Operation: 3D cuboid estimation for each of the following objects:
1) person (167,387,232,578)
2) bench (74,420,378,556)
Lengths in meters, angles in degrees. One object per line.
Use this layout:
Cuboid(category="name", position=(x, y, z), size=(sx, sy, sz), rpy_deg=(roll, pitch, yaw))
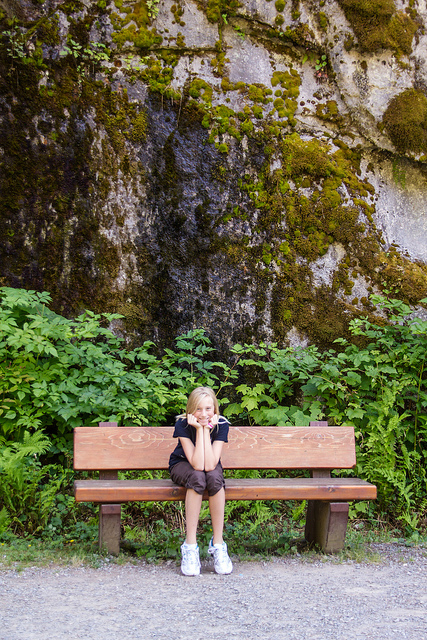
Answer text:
Cuboid(category="person", position=(-0.075, 1.051, 4.853), size=(0.437, 1.175, 0.490), rpy_deg=(3, 5, -4))
Cuboid(category="bench", position=(0.057, 1.156, 5.149), size=(2.094, 0.766, 0.639), rpy_deg=(2, 1, -13))
